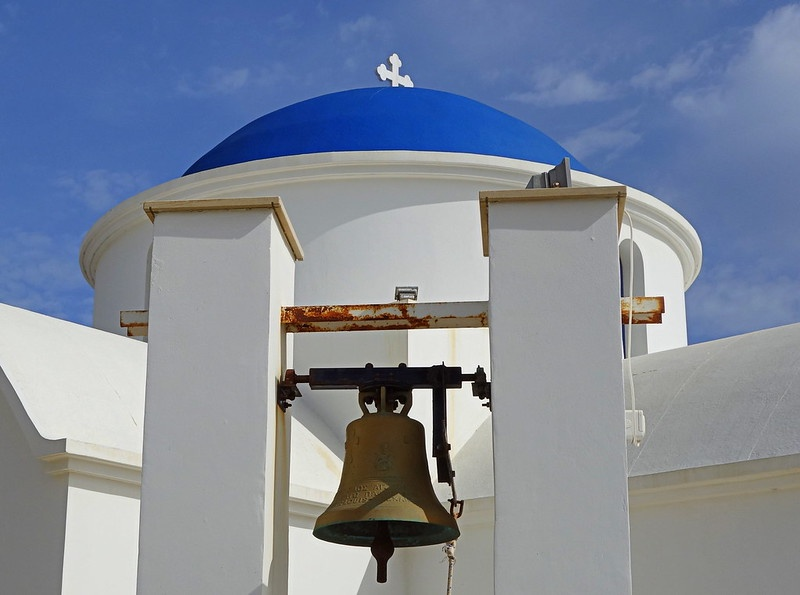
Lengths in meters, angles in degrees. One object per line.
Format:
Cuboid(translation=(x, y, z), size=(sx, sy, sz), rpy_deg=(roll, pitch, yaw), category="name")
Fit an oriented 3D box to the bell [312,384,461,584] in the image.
Cuboid(translation=(-0.115, 1.337, 8.989), size=(0.912, 1.550, 1.045), rpy_deg=(8, -24, -16), category="bell")
